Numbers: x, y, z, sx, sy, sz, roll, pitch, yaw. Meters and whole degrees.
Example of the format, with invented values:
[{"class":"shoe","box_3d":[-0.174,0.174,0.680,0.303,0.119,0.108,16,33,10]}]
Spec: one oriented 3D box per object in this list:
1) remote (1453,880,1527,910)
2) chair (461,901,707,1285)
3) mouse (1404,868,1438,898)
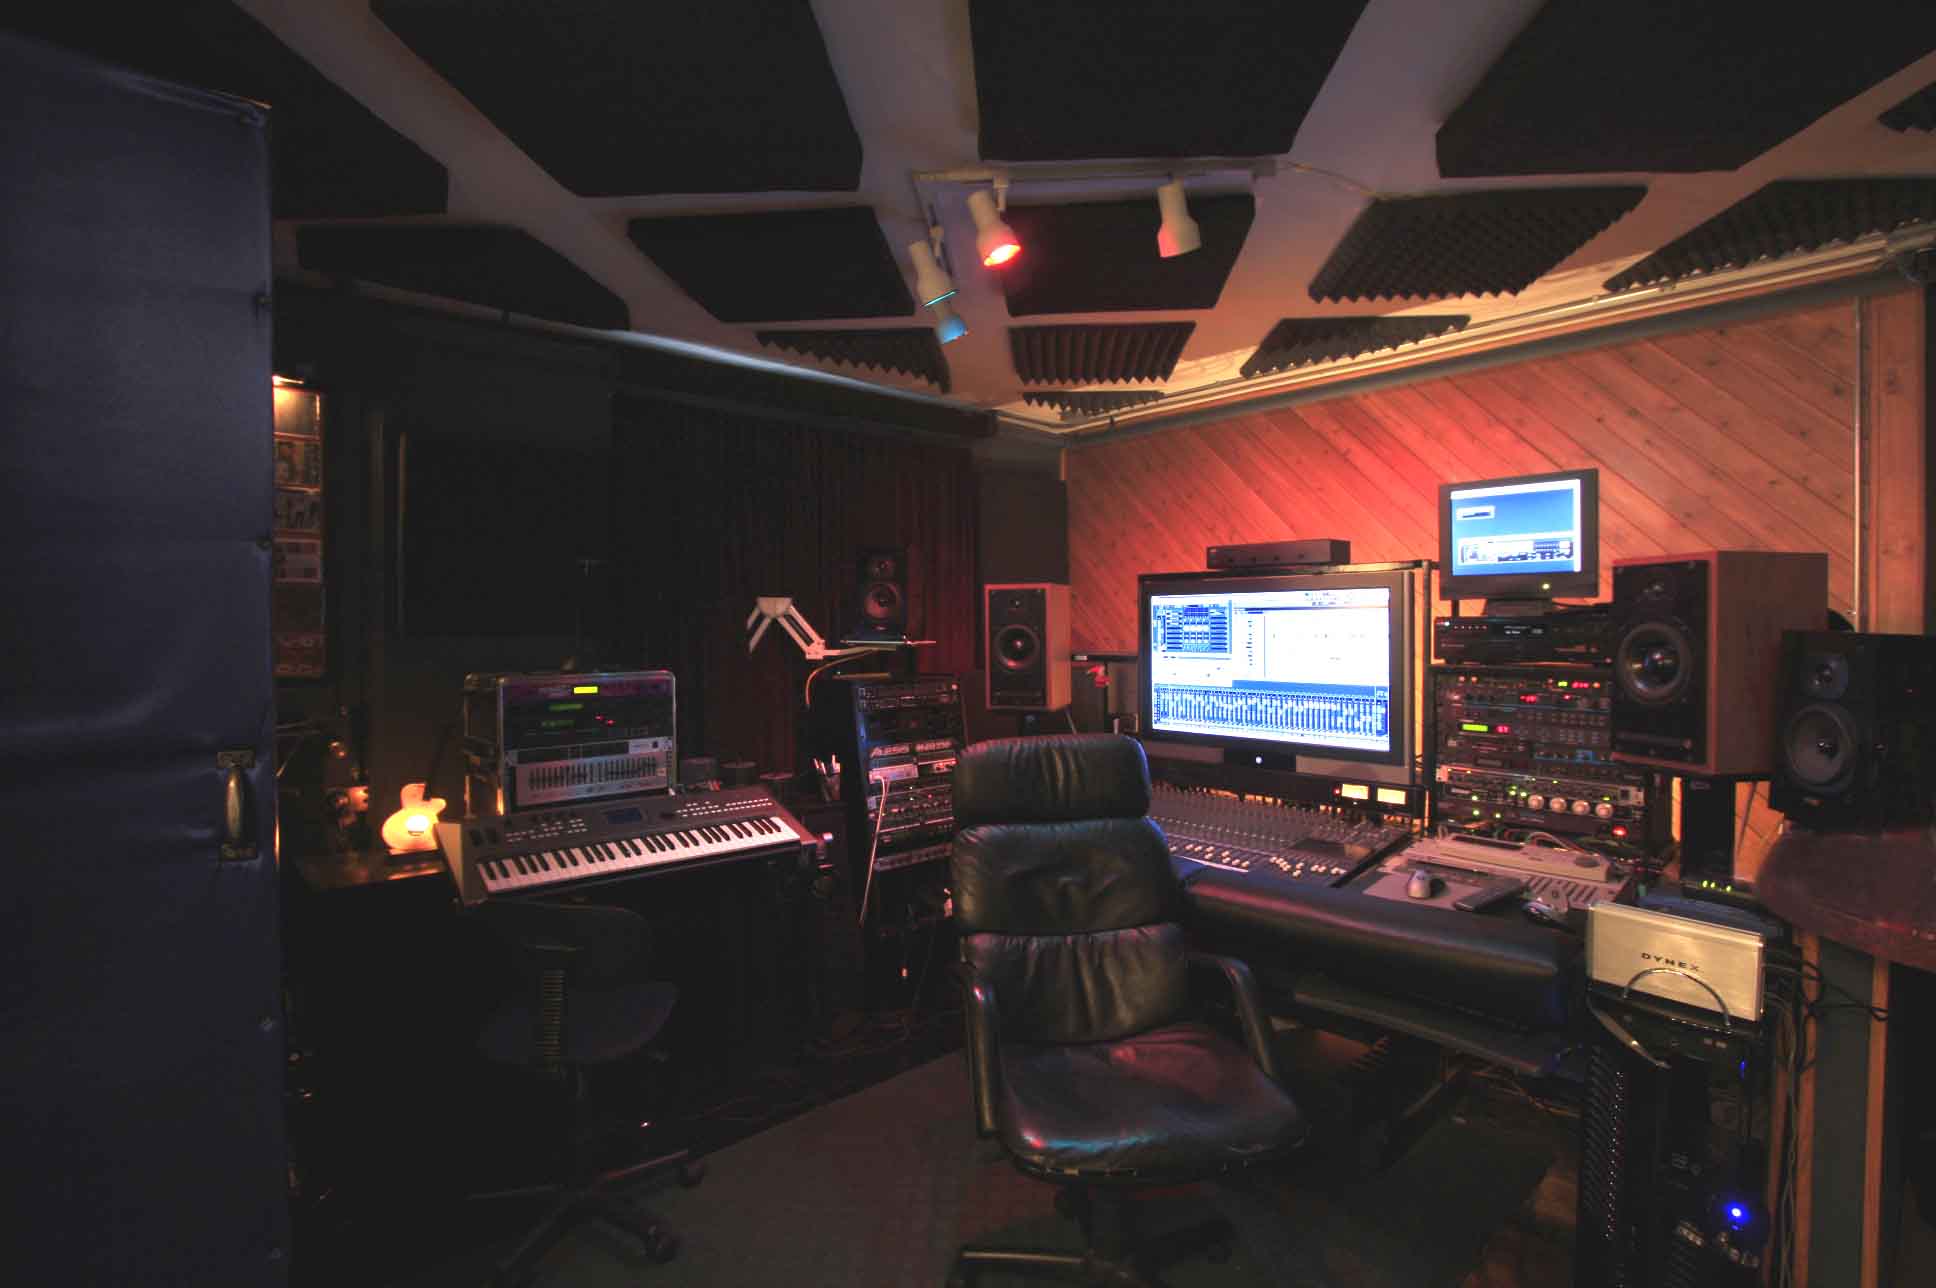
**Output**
[{"class":"remote","box_3d":[1.524,0.743,4.128,0.255,0.062,0.090,-4,3,-21]},{"class":"chair","box_3d":[-1.266,1.333,4.577,0.674,1.177,0.825,-4,3,-20]},{"class":"mouse","box_3d":[1.362,0.720,4.198,0.096,0.057,0.164,-2,3,19]}]
